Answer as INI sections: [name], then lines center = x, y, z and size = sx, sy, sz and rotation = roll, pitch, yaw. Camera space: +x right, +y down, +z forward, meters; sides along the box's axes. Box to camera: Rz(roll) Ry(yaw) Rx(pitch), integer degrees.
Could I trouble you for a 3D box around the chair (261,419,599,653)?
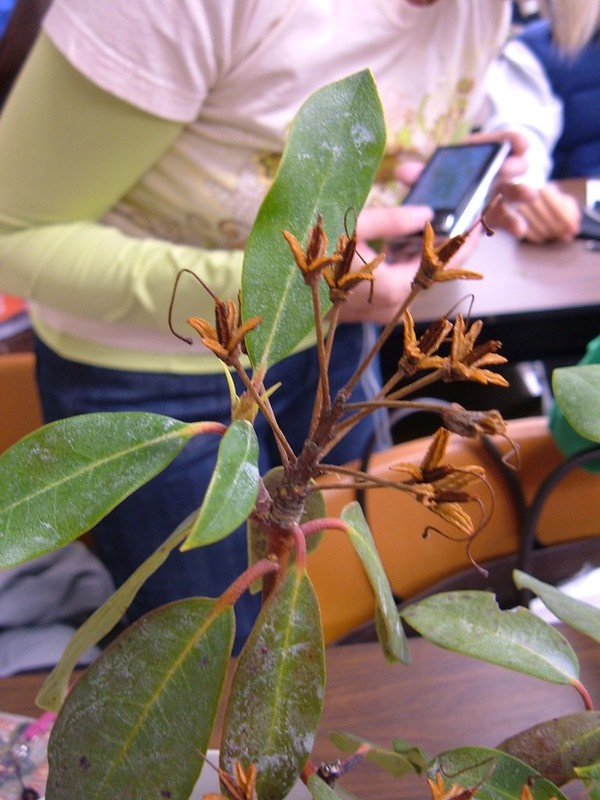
[chair]
center = 0.171, 0.154, 1.107
size = 0.350, 0.363, 0.436
rotation = -27, 80, -22
